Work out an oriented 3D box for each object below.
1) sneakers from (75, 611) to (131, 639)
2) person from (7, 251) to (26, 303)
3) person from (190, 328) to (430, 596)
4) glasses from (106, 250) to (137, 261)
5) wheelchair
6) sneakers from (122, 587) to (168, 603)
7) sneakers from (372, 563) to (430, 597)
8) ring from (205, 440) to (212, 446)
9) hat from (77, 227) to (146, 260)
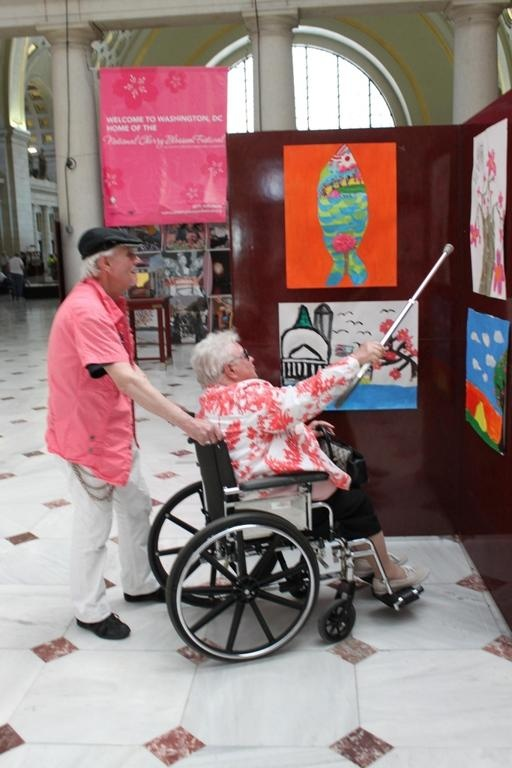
[{"bbox_3d":[-0.548,0.844,2.216,0.180,0.067,0.072,-4,-3,32],"label":"sneakers"},{"bbox_3d":[-8.546,-3.770,22.241,0.451,1.430,1.550,-6,8,-22],"label":"person"},{"bbox_3d":[0.178,0.298,2.031,0.714,0.951,0.449,-4,8,-8],"label":"person"},{"bbox_3d":[-0.449,-0.426,2.089,0.064,0.024,0.040,0,10,-29],"label":"glasses"},{"bbox_3d":[0.143,0.510,2.404,1.123,0.887,0.568,-7,13,-19],"label":"wheelchair"},{"bbox_3d":[-0.437,0.846,2.480,0.182,0.064,0.062,-2,7,-10],"label":"sneakers"},{"bbox_3d":[0.524,0.686,2.264,0.237,0.087,0.084,-8,10,-30],"label":"sneakers"},{"bbox_3d":[-0.144,0.176,1.857,0.018,0.015,0.012,12,5,3],"label":"ring"},{"bbox_3d":[-0.474,-0.469,2.046,0.172,0.072,0.126,-19,19,-5],"label":"hat"}]
